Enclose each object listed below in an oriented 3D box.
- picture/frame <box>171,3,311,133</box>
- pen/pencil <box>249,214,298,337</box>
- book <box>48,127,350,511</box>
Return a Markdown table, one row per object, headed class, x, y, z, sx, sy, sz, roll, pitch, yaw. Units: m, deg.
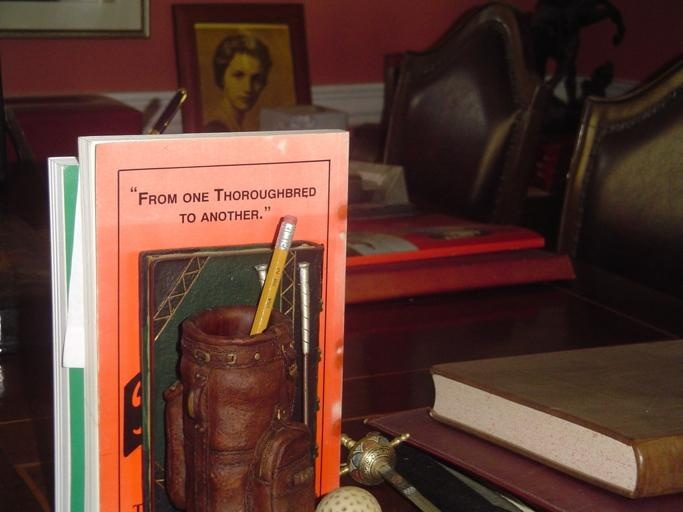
| class | x | y | z | sx | sy | sz | roll | pitch | yaw |
| --- | --- | --- | --- | --- | --- | --- | --- | --- | --- |
| picture/frame | -0.456 | -0.908 | 3.249 | 0.638 | 0.560 | 0.219 | -11 | 24 | -30 |
| pen/pencil | -0.056 | 0.019 | 0.555 | 0.013 | 0.105 | 0.012 | 22 | -11 | -25 |
| book | -0.107 | 0.061 | 0.579 | 0.262 | 0.317 | 0.127 | -8 | 23 | -24 |
